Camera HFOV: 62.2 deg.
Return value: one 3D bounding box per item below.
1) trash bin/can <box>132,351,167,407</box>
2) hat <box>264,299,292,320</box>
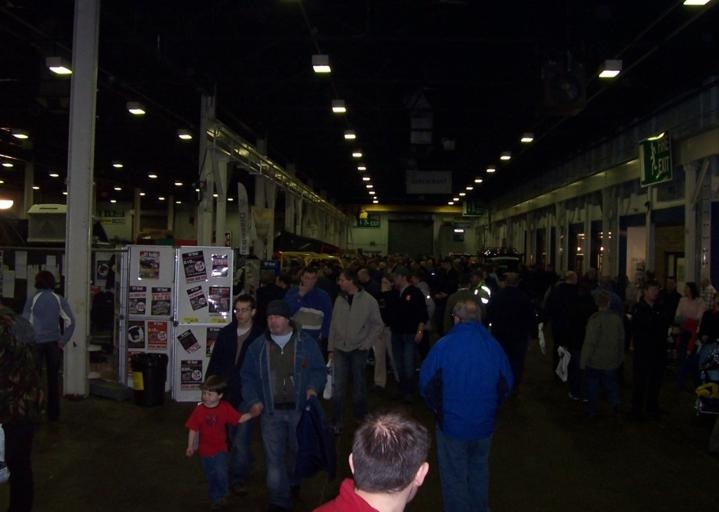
[{"bbox_3d":[-3.983,2.313,11.373,0.816,0.971,0.755,9,-9,-44],"label":"trash bin/can"},{"bbox_3d":[-1.048,0.677,7.629,0.286,0.228,0.152,5,-4,-32],"label":"hat"}]
